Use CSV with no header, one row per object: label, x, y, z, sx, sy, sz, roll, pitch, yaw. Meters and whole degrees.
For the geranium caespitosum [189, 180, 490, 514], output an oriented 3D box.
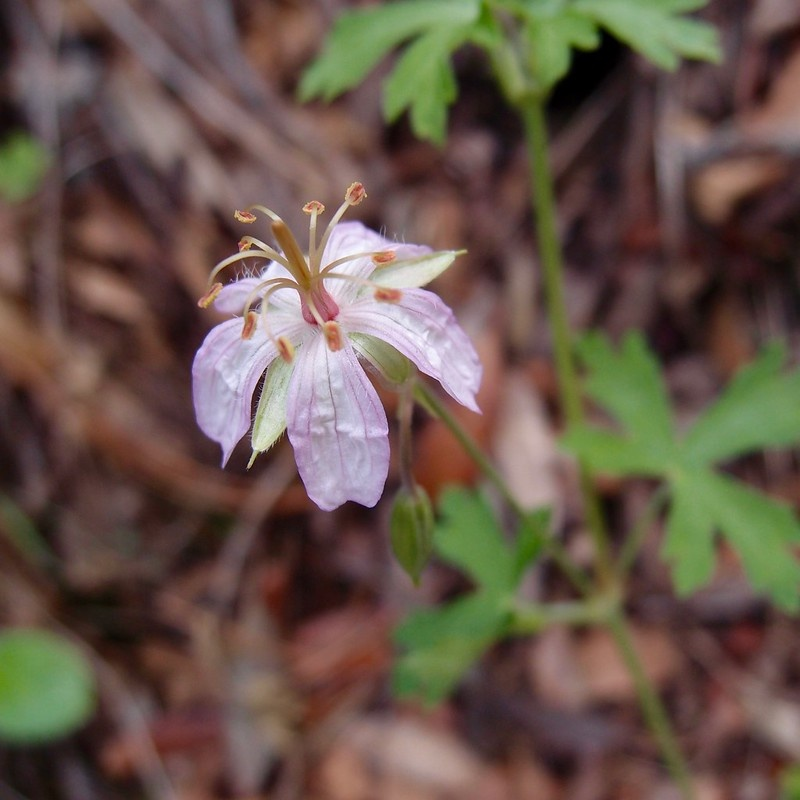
geranium caespitosum,-0.140,-0.085,1.835,0.566,0.424,0.677,-12,75,-2
